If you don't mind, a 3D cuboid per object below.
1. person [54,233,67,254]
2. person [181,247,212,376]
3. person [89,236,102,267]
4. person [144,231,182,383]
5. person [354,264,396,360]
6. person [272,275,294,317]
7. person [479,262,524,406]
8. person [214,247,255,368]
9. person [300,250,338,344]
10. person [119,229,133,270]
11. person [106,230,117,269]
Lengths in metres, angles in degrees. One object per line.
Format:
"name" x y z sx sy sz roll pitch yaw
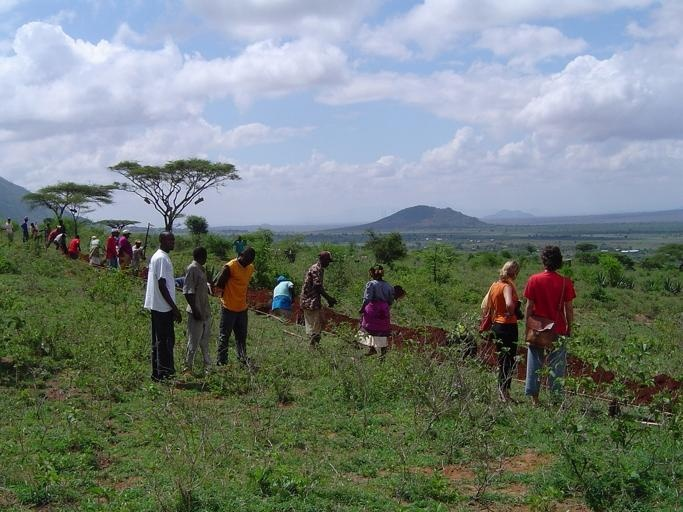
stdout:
"person" -10.231 -0.480 21.440 0.430 0.783 1.575 1 -1 -27
"person" -2.206 0.792 9.003 0.430 1.840 0.774 1 -1 -15
"person" -8.010 -0.168 19.152 0.334 0.944 1.648 1 -1 -22
"person" -2.593 0.718 8.543 0.480 2.130 0.744 1 -1 -18
"person" 0.564 0.886 9.598 0.535 1.469 0.419 1 -1 3
"person" -1.187 0.839 11.838 0.411 0.947 0.377 -6 -24 23
"person" 2.207 1.008 8.210 0.563 1.922 0.703 0 -1 16
"person" -1.688 0.768 9.217 0.576 1.842 0.913 1 -1 -10
"person" -0.461 0.786 10.829 0.553 1.739 1.121 1 -1 -8
"person" -6.541 -0.205 17.753 0.384 1.130 1.518 1 -1 -20
"person" -6.766 -0.235 17.370 0.298 1.096 0.915 1 -1 -21
